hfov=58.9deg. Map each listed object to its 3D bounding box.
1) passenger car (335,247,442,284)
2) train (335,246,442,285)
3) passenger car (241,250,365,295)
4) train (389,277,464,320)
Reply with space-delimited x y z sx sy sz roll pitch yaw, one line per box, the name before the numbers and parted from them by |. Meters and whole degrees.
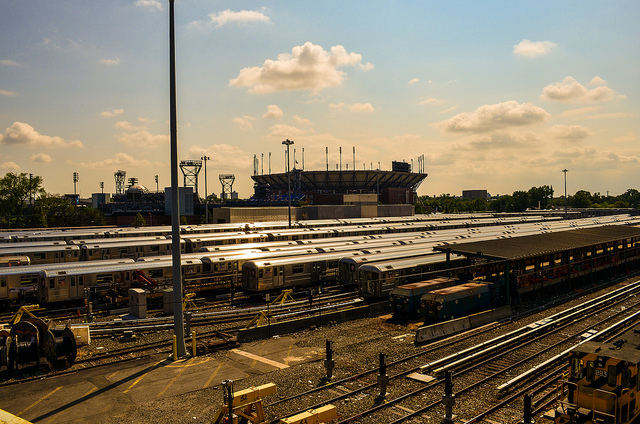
passenger car | 8.654 6.254 62.117 15.213 3.484 3.451 0 1 -36
train | 9.312 6.175 61.620 14.969 3.683 3.865 -4 3 -38
passenger car | -1.646 6.641 62.113 3.069 3.983 16.560 0 1 38
train | 10.832 7.877 51.046 4.747 3.378 8.887 -3 0 22
